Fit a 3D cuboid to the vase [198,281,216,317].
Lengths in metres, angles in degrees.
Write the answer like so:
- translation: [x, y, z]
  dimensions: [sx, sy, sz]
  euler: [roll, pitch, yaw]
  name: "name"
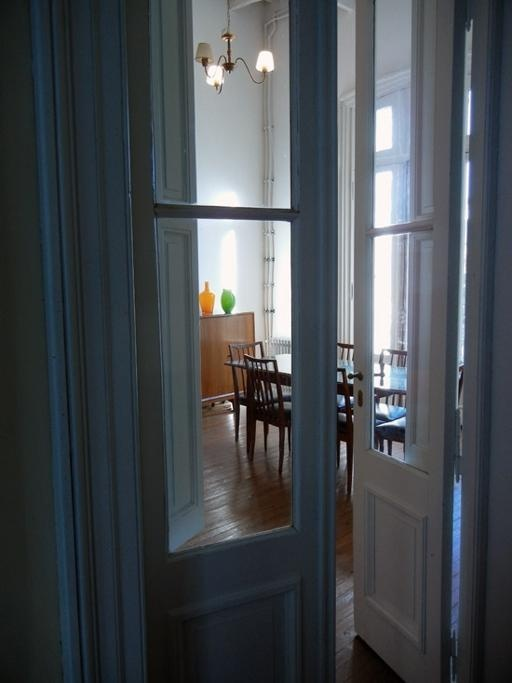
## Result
- translation: [-0.129, -0.112, 1.461]
  dimensions: [0.043, 0.133, 0.056]
  euler: [-4, 15, -18]
  name: "vase"
